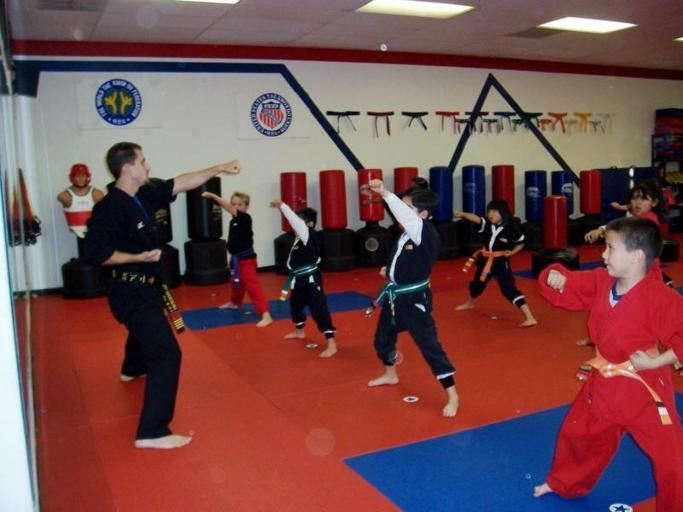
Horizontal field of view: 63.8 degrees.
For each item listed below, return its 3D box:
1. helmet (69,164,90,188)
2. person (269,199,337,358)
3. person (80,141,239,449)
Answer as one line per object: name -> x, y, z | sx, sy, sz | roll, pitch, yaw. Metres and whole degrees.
helmet -> -3.266, -1.013, 6.865 | 0.255, 0.338, 0.332 | -1, -2, -21
person -> -0.309, 0.135, 4.816 | 0.504, 1.305, 0.884 | -2, 12, -1
person -> -1.193, 0.178, 3.451 | 0.656, 1.757, 0.928 | -3, 12, -7
